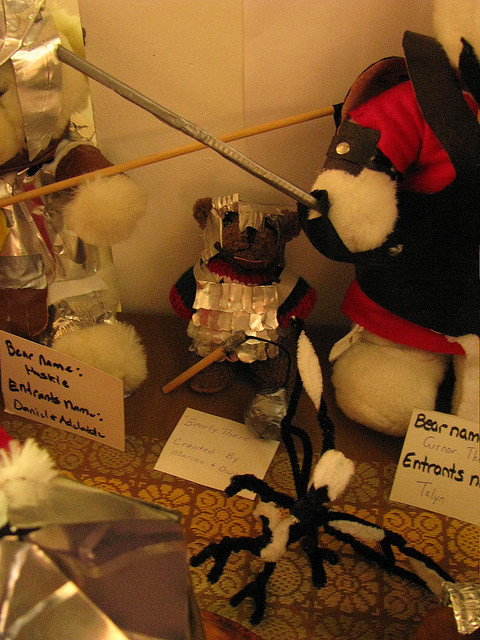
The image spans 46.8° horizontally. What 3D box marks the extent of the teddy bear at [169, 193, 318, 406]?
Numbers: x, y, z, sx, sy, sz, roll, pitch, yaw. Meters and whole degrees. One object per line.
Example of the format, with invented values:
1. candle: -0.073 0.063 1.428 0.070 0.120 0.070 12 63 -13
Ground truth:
1. teddy bear: 0.016 -0.025 0.765 0.185 0.278 0.217 -9 33 -19
